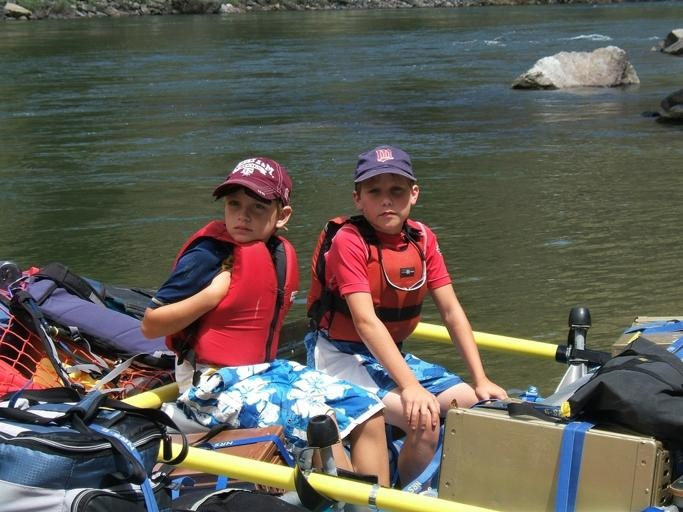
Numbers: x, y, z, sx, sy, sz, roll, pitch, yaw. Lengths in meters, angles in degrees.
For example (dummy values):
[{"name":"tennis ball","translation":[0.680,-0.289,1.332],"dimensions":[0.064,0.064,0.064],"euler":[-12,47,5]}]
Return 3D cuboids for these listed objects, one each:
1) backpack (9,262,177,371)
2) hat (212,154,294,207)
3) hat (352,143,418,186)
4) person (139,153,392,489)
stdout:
[{"name":"backpack","translation":[-1.555,0.361,5.683],"dimensions":[1.214,0.320,0.638],"euler":[23,27,9]},{"name":"hat","translation":[-0.471,-0.455,4.799],"dimensions":[0.371,0.165,0.405],"euler":[12,11,13]},{"name":"hat","translation":[0.252,-0.531,4.747],"dimensions":[0.334,0.135,0.320],"euler":[-10,22,-5]},{"name":"person","translation":[-0.333,0.295,4.589],"dimensions":[1.086,1.612,0.790],"euler":[9,17,33]}]
